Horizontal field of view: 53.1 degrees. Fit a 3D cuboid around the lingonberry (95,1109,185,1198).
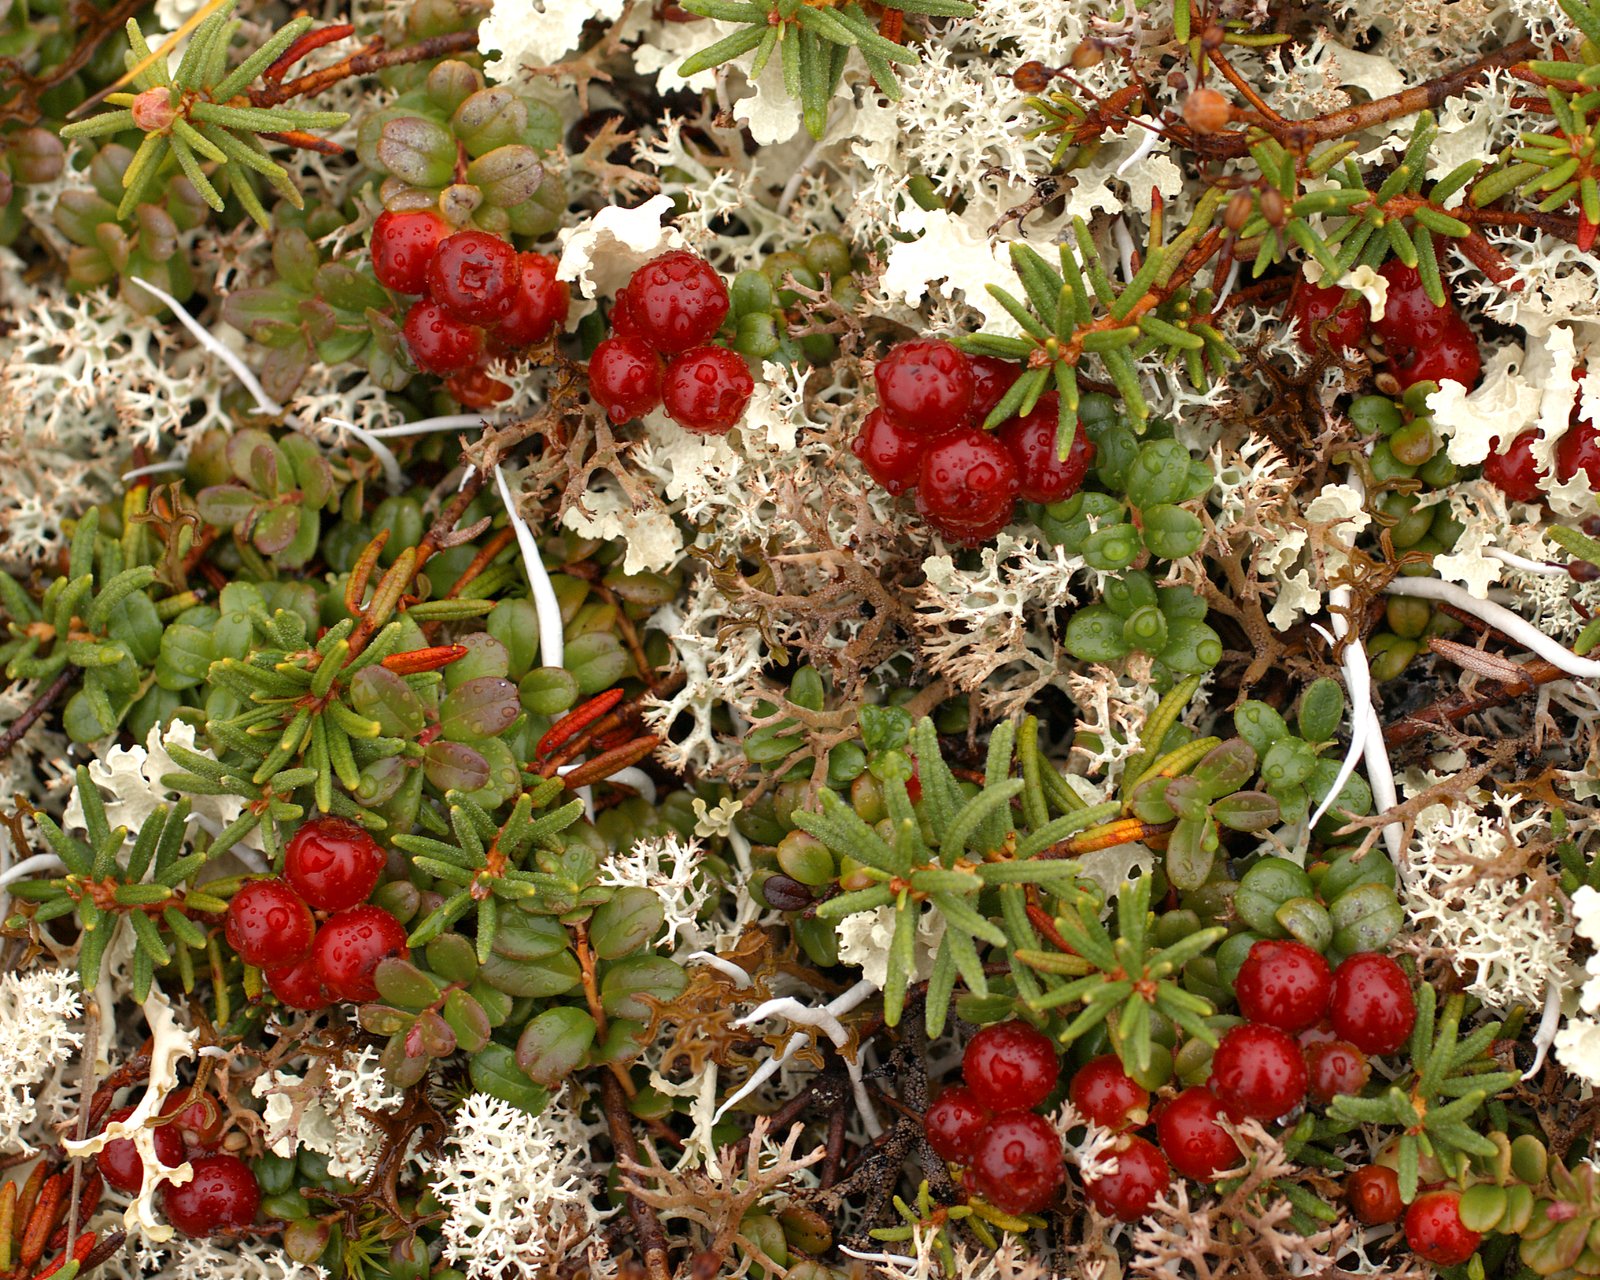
[{"bbox_3d":[-1.100,0.860,2.681,0.117,0.080,0.151,-3,-67,-2],"label":"lingonberry"}]
